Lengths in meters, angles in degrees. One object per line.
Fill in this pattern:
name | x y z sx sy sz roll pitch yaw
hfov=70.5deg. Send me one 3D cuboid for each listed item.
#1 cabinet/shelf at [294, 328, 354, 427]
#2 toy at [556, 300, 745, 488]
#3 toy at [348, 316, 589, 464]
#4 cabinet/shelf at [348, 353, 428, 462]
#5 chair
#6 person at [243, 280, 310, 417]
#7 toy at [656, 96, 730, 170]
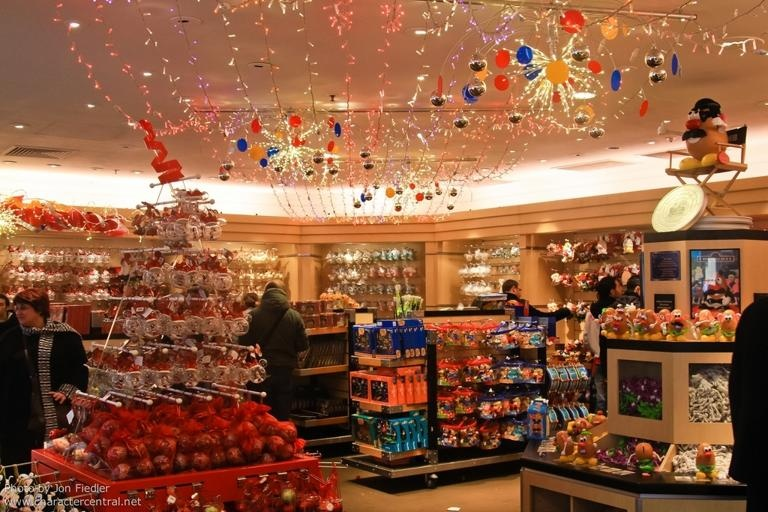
cabinet/shelf | -0.904 1.673 7.470 0.938 1.170 0.939 7 -11 -33
toy | 2.192 0.945 4.396 1.243 1.103 1.319 -1 0 -32
toy | 0.848 1.510 6.039 2.183 1.235 0.728 2 -6 -31
cabinet/shelf | 0.005 1.686 6.021 0.884 1.167 0.488 -2 -5 31
chair | 2.821 -0.793 4.777 0.551 0.683 0.596 -3 2 -36
person | -1.291 1.112 6.444 0.747 1.603 0.390 2 -4 -19
toy | 2.739 -1.069 4.640 0.363 0.646 0.353 -2 -5 30
